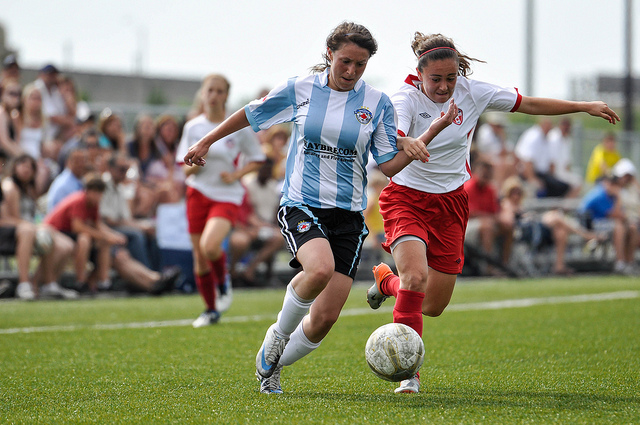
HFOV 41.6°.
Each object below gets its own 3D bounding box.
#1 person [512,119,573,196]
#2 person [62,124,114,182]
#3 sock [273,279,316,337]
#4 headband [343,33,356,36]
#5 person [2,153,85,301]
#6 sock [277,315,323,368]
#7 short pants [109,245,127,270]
[{"bbox_3d":[4.780,-1.225,18.045,1.142,1.711,1.226,-1,11,-32],"label":"person"},{"bbox_3d":[-3.533,-0.876,12.855,0.859,0.858,0.288,7,-30,-26],"label":"person"},{"bbox_3d":[-0.244,0.920,7.827,0.392,0.503,0.200,3,3,9],"label":"sock"},{"bbox_3d":[0.276,-1.620,7.701,0.103,0.027,0.016,3,3,2],"label":"headband"},{"bbox_3d":[-3.982,0.226,11.802,0.969,2.038,0.828,4,3,15],"label":"person"},{"bbox_3d":[-0.200,1.208,7.941,0.172,0.512,0.358,47,-4,-18],"label":"sock"},{"bbox_3d":[-3.025,0.653,12.536,0.207,0.358,0.435,2,3,-13],"label":"short pants"}]
